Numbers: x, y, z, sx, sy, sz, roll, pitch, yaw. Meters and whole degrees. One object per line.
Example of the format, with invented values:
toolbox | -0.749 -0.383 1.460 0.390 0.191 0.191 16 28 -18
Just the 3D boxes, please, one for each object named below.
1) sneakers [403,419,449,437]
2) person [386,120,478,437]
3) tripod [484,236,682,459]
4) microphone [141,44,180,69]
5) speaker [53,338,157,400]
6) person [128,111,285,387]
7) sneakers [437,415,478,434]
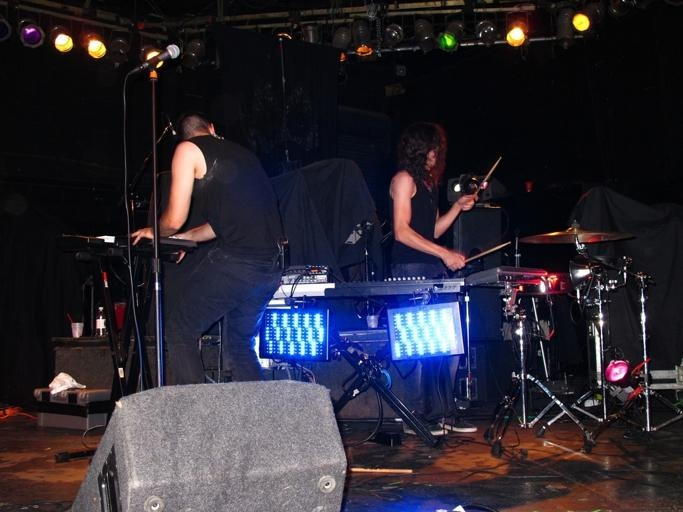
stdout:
sneakers | 0.700 1.462 6.368 0.429 0.178 0.166 -8 -9 27
person | 0.802 0.181 6.495 0.693 2.708 0.820 -3 5 -19
tripod | 2.222 0.673 6.621 1.357 1.850 2.482 2 5 27
microphone | -1.325 -1.500 5.647 0.249 0.220 0.450 -1 4 -2
speaker | -2.583 1.111 7.610 0.712 0.519 0.378 -2 -10 -28
person | -0.916 -0.083 5.489 0.967 1.951 0.932 0 5 5
sneakers | 1.008 1.467 6.503 0.360 0.151 0.160 -4 -6 19
